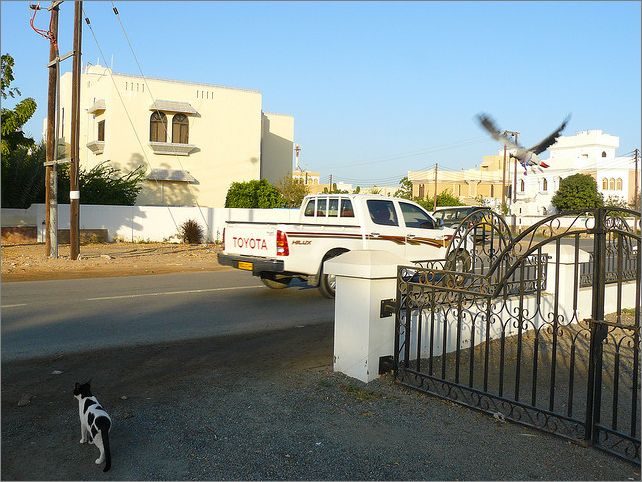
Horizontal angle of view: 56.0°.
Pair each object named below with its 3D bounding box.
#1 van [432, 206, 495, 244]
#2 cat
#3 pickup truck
[{"bbox_3d":[4.952,-0.474,21.615,1.924,1.477,2.494,1,6,43],"label":"van"},{"bbox_3d":[-2.206,1.766,5.895,0.277,0.582,0.889,-6,15,-29],"label":"cat"},{"bbox_3d":[0.975,0.023,14.493,6.410,2.395,2.779,-2,2,-36],"label":"pickup truck"}]
